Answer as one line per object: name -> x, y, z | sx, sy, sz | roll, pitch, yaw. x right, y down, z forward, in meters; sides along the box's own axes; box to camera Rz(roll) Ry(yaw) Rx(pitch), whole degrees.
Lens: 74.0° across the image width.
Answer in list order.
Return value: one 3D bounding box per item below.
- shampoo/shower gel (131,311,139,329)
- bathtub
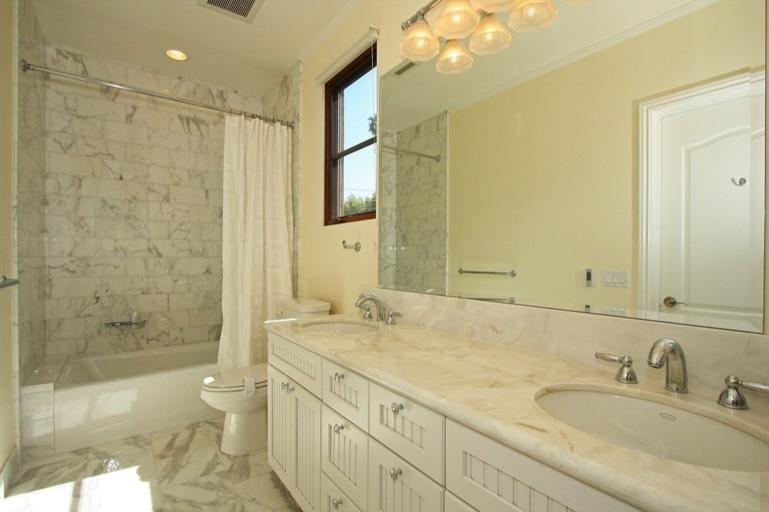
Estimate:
shampoo/shower gel -> -2.156, 0.550, 4.416 | 0.064, 0.139, 0.071 | 0, -2, -27
bathtub -> -1.922, 1.068, 3.980 | 1.060, 0.542, 0.696 | 1, -2, -29
